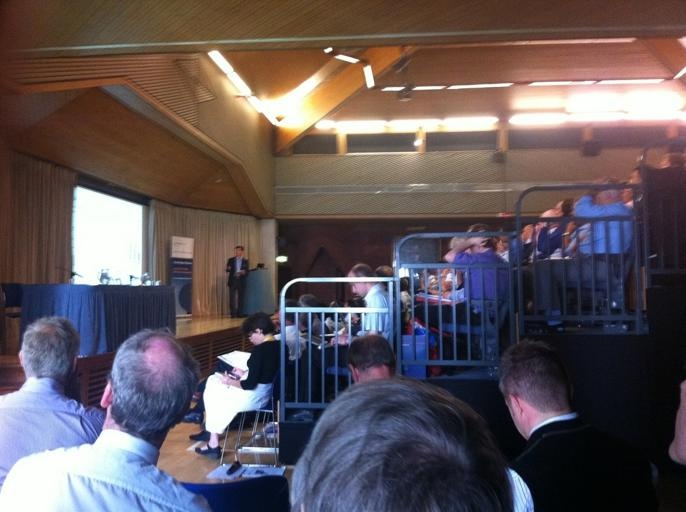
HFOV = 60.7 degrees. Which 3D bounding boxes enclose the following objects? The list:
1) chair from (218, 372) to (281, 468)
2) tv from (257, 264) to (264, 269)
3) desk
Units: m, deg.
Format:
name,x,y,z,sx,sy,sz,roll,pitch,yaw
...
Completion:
name,x,y,z,sx,sy,sz,roll,pitch,yaw
chair,-0.749,1.472,5.094,0.657,0.975,0.552,4,-11,-6
tv,-1.611,0.201,11.395,0.114,0.145,0.158,-1,-3,7
desk,-2.145,0.504,5.683,1.265,0.455,0.406,-1,10,-1
